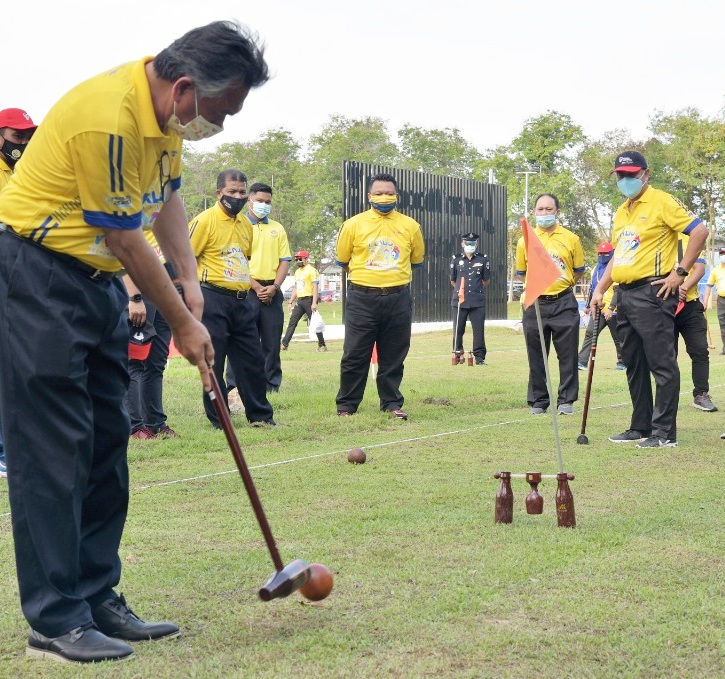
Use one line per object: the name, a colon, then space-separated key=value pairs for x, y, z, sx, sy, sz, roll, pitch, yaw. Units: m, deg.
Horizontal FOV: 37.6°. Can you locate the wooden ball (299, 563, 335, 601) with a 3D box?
wooden ball: x=-0.158 y=0.909 z=3.965 sx=0.134 sy=0.142 sz=0.110 roll=-4 pitch=5 yaw=-20

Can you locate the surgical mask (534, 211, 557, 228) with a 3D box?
surgical mask: x=1.697 y=-1.121 z=9.893 sx=0.177 sy=0.101 sz=0.160 roll=2 pitch=9 yaw=15

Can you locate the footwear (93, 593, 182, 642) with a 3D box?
footwear: x=-0.834 y=1.045 z=3.962 sx=0.414 sy=0.136 sz=0.120 roll=3 pitch=-2 yaw=1

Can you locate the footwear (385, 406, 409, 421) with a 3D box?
footwear: x=0.331 y=0.657 z=9.386 sx=0.080 sy=0.077 sz=0.211 roll=1 pitch=-1 yaw=-30

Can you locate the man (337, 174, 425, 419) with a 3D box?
man: x=0.169 y=-0.268 z=9.569 sx=0.850 sy=1.845 sz=0.522 roll=-3 pitch=5 yaw=-5

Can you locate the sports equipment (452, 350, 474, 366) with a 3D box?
sports equipment: x=1.501 y=0.277 z=15.767 sx=0.348 sy=0.186 sz=0.230 roll=0 pitch=-7 yaw=-4

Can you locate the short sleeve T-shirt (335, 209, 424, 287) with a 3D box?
short sleeve T-shirt: x=0.202 y=-0.846 z=9.634 sx=0.866 sy=0.619 sz=0.449 roll=-1 pitch=14 yaw=-23

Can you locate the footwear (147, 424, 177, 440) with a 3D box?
footwear: x=-1.521 y=0.724 z=8.260 sx=0.265 sy=0.095 sz=0.082 roll=0 pitch=1 yaw=-16

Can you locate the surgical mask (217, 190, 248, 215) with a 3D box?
surgical mask: x=-1.008 y=-1.104 z=8.518 sx=0.176 sy=0.090 sz=0.165 roll=-5 pitch=32 yaw=-23

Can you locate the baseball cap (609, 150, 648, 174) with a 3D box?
baseball cap: x=1.916 y=-1.282 z=7.670 sx=0.192 sy=0.112 sz=0.267 roll=1 pitch=4 yaw=35

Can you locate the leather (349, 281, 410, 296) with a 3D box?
leather: x=0.168 y=-0.465 z=9.569 sx=0.526 sy=0.128 sz=0.248 roll=-2 pitch=4 yaw=-2

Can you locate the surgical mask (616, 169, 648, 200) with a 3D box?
surgical mask: x=1.963 y=-1.162 z=7.729 sx=0.208 sy=0.142 sz=0.221 roll=3 pitch=43 yaw=45

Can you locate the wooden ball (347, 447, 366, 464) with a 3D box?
wooden ball: x=-0.020 y=0.773 z=7.085 sx=0.124 sy=0.089 sz=0.209 roll=-2 pitch=4 yaw=1

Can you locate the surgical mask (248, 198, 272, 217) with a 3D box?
surgical mask: x=-0.973 y=-1.353 z=10.799 sx=0.219 sy=0.153 sz=0.230 roll=0 pitch=11 yaw=-21

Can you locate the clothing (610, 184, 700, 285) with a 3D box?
clothing: x=2.081 y=-0.787 z=7.747 sx=0.518 sy=0.728 sz=0.907 roll=-6 pitch=2 yaw=-25

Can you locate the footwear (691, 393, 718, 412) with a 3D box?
footwear: x=3.065 y=0.572 z=9.596 sx=0.104 sy=0.104 sz=0.261 roll=0 pitch=-4 yaw=-17

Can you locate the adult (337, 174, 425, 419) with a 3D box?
adult: x=0.169 y=-0.268 z=9.569 sx=0.855 sy=1.846 sz=0.522 roll=-3 pitch=5 yaw=-5

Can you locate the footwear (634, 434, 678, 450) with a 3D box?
footwear: x=2.056 y=0.725 z=7.543 sx=0.298 sy=0.106 sz=0.095 roll=3 pitch=-10 yaw=0

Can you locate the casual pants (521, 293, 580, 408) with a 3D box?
casual pants: x=1.735 y=0.079 z=9.828 sx=0.502 sy=1.106 sz=0.630 roll=-2 pitch=5 yaw=9

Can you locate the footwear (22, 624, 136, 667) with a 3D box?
footwear: x=-0.949 y=1.076 z=3.725 sx=0.318 sy=0.101 sz=0.138 roll=0 pitch=-7 yaw=1

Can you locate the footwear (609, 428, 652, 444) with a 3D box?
footwear: x=1.952 y=0.715 z=7.839 sx=0.290 sy=0.091 sz=0.102 roll=4 pitch=-9 yaw=-6

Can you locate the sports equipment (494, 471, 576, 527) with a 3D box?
sports equipment: x=0.846 y=0.780 z=5.216 sx=0.107 sy=0.258 sz=0.478 roll=3 pitch=-7 yaw=-44
